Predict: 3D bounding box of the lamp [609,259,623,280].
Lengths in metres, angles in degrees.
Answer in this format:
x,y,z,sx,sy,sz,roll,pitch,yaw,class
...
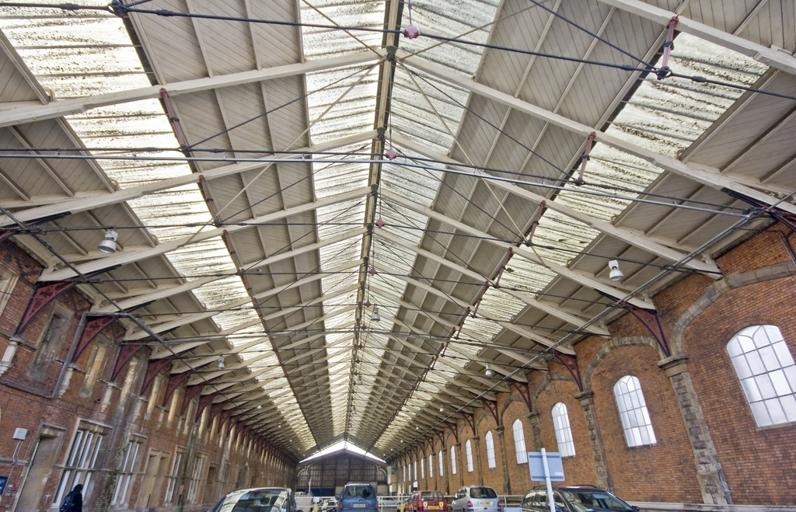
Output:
x,y,z,sx,sy,sz,roll,pitch,yaw,class
7.644,0.441,16.871,0.398,0.869,0.667,-13,-39,16,lamp
